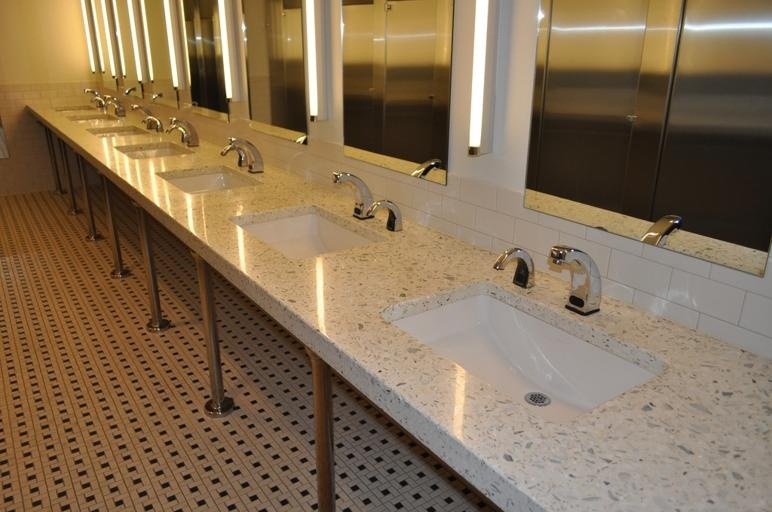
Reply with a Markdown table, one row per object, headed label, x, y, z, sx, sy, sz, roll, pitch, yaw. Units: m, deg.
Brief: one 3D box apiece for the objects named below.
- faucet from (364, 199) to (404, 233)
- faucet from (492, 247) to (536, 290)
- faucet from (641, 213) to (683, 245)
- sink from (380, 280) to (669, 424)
| label | x | y | z | sx | sy | sz | roll | pitch | yaw |
| --- | --- | --- | --- | --- | --- | --- | --- | --- | --- |
| faucet | -0.005 | -0.183 | 2.478 | 0.179 | 0.148 | 0.054 | -7 | 20 | -31 |
| faucet | 0.475 | 0.047 | 1.994 | 0.214 | 0.156 | 0.066 | -9 | 21 | -41 |
| faucet | 0.918 | -0.085 | 1.815 | 0.041 | 0.172 | 0.044 | 42 | 58 | 15 |
| sink | 0.474 | 0.313 | 1.900 | 0.887 | 0.228 | 0.370 | 13 | 30 | 27 |
